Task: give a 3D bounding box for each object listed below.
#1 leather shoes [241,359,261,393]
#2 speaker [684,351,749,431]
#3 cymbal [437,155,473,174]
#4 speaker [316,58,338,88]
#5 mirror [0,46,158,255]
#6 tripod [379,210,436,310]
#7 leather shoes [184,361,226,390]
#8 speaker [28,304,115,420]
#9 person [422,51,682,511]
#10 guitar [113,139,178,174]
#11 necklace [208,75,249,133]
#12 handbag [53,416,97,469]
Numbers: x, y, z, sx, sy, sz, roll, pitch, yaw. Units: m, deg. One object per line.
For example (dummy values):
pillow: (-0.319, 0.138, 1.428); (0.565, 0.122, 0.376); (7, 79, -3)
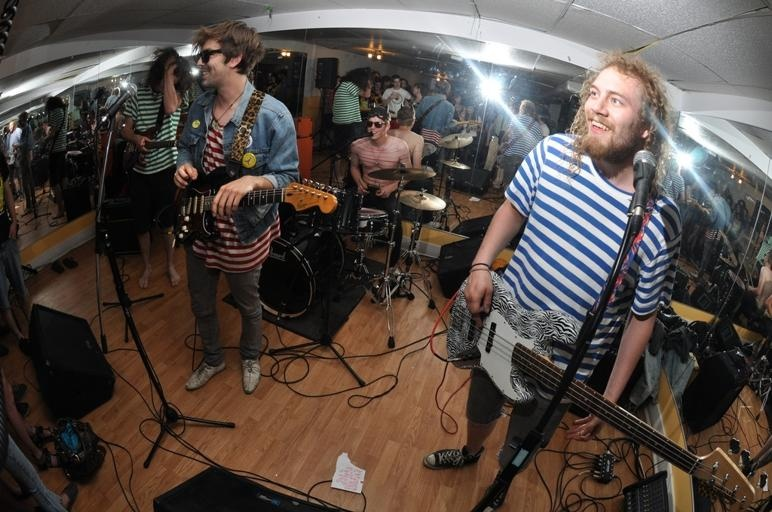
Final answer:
leather shoes: (-1.176, 0.930, 3.951); (0.099, 0.100, 0.293); (-3, 64, -19)
speaker: (2.051, 0.830, 3.048); (0.275, 0.547, 0.321); (0, 53, 2)
cymbal: (0.635, -0.920, 5.208); (0.189, 0.193, 0.067); (28, 58, -6)
speaker: (-0.727, -1.896, 5.214); (0.174, 0.261, 0.138); (9, 28, 7)
mirror: (-2.693, -1.045, 4.638); (1.517, 1.643, 0.368); (-23, -23, 27)
tripod: (0.241, -0.003, 5.262); (0.742, 1.284, 0.854); (0, 9, -6)
leather shoes: (-1.559, 0.933, 3.961); (0.348, 0.130, 0.135); (-42, 2, -19)
speaker: (-2.463, 0.800, 3.651); (0.338, 0.488, 0.655); (-8, 28, -42)
person: (0.954, 0.381, 2.894); (1.086, 2.833, 0.759); (16, 26, 19)
guitar: (-2.440, -0.926, 4.693); (0.473, 0.172, 0.288); (-13, -7, -6)
necklace: (-1.150, -1.037, 3.378); (0.241, 0.357, 0.098); (7, 28, 2)
handbag: (-2.200, 1.224, 3.310); (0.230, 0.118, 0.310); (-16, 63, -36)
